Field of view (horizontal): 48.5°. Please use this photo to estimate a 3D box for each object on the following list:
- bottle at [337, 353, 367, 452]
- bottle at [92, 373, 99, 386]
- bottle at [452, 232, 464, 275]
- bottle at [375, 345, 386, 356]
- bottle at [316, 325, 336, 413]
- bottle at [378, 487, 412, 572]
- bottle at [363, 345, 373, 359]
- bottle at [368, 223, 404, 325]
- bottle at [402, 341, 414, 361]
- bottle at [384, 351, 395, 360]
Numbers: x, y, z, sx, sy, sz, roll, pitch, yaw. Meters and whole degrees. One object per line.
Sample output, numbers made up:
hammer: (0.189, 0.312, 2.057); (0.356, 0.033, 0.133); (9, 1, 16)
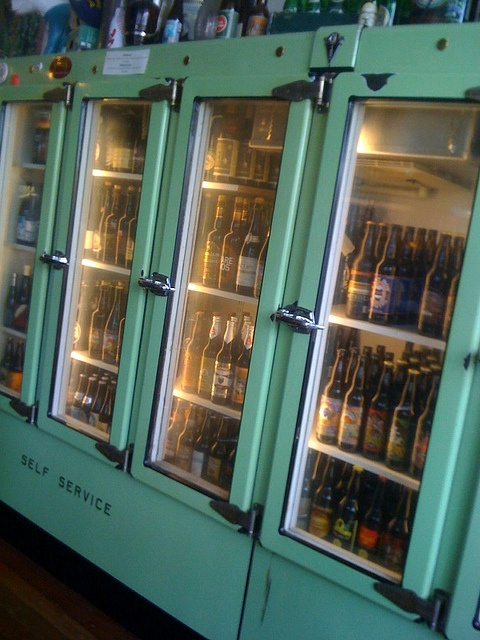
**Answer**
bottle: (0.327, 0.238, 1.505); (0.064, 0.237, 0.135); (13, 6, 14)
bottle: (-0.576, 0.234, 2.135); (0.029, 0.045, 0.029); (0, 13, 0)
bottle: (0.575, -0.172, 1.412); (0.022, 0.106, 0.115); (13, 6, 15)
bottle: (0.422, 0.091, 1.595); (0.027, 0.041, 0.027); (5, -2, 0)
bottle: (0.245, 0.135, 1.506); (0.015, 0.215, 0.097); (14, 6, 25)
bottle: (0.408, 0.549, 1.385); (0.059, 0.196, 0.176); (14, 6, 19)
bottle: (0.376, 0.095, 1.570); (0.029, 0.045, 0.029); (1, 7, 0)
bottle: (0.416, -0.131, 1.481); (0.078, 0.253, 0.145); (13, 6, 13)
bottle: (0.491, 0.093, 1.553); (0.027, 0.053, 0.086); (14, 6, 16)
bottle: (0.432, 0.101, 1.538); (0.026, 0.028, 0.027); (3, 5, 9)
